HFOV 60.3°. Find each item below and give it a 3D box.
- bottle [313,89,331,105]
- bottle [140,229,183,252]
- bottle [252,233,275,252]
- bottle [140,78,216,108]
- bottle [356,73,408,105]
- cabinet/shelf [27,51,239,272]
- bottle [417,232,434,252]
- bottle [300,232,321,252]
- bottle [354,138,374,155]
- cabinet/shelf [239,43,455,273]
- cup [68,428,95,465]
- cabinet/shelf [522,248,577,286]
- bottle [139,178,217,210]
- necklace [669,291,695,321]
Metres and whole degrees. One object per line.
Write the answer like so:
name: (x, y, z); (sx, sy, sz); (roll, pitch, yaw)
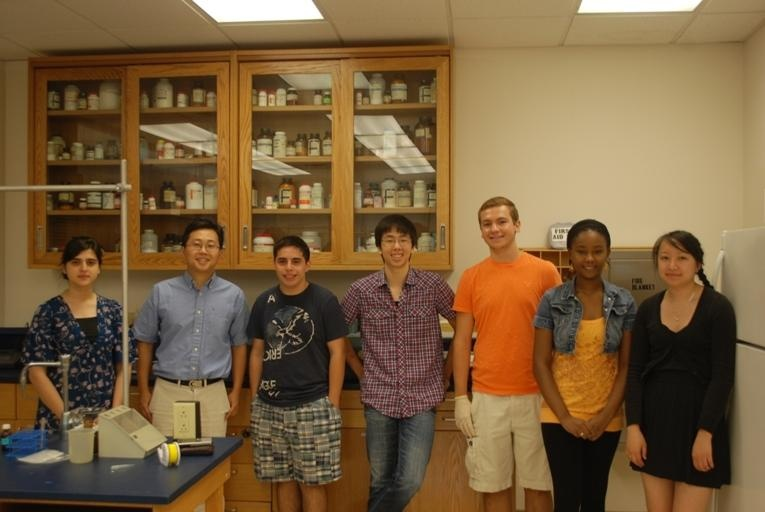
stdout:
bottle: (-0.429, -1.143, 4.674); (0.119, 0.105, 0.042); (1, -3, 0)
bottle: (-1.630, -0.113, 4.774); (0.303, 0.179, 0.146); (2, -1, -2)
bottle: (-0.859, -0.089, 4.712); (0.136, 0.120, 0.133); (2, -6, -12)
bottle: (-1.483, -1.189, 4.744); (0.554, 0.217, 0.027); (-1, 3, 4)
bottle: (-0.015, -1.197, 4.635); (0.370, 0.222, 0.031); (-1, 3, -1)
cabinet/shelf: (-1.777, -0.658, 4.786); (1.527, 1.371, 0.455); (-4, 1, -12)
bottle: (0.301, -0.100, 4.614); (0.133, 0.141, 0.129); (1, -4, -16)
bottle: (-0.508, -0.103, 4.750); (0.139, 0.130, 0.140); (0, 0, 23)
bottle: (-0.148, -0.773, 4.660); (0.127, 0.118, 0.109); (-7, 0, 20)
cabinet/shelf: (-0.210, -0.717, 4.603); (1.694, 1.547, 0.532); (-1, -3, 2)
cup: (-1.524, 0.963, 3.316); (0.157, 0.137, 0.159); (1, -5, 0)
cabinet/shelf: (1.037, 0.070, 4.057); (0.246, 0.405, 0.079); (1, 3, -4)
bottle: (-1.486, -0.450, 4.767); (0.549, 0.222, 0.041); (-1, 3, 3)
necklace: (1.551, 0.258, 3.408); (0.117, 0.161, 0.042); (-2, -16, 29)
